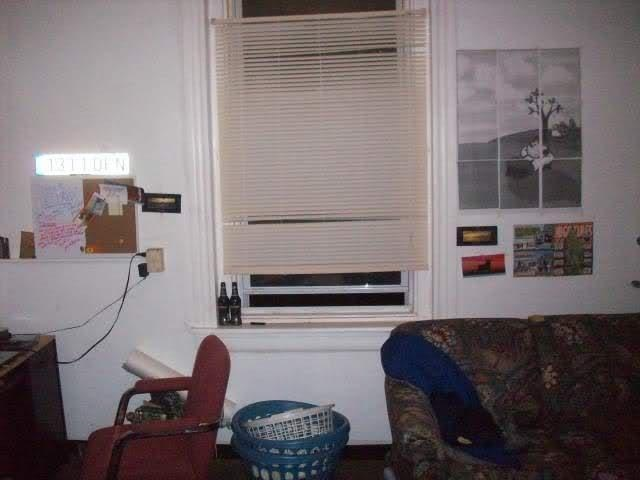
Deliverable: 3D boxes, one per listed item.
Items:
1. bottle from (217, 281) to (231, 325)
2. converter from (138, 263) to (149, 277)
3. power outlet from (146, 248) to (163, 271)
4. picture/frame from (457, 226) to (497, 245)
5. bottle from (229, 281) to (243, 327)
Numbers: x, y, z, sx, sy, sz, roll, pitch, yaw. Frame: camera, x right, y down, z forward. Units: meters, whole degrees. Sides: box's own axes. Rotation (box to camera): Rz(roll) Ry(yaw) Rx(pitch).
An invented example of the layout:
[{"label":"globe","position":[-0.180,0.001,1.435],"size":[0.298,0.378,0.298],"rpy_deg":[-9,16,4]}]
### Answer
[{"label":"bottle","position":[-0.654,0.437,4.103],"size":[0.078,0.302,0.120],"rpy_deg":[2,7,25]},{"label":"converter","position":[-1.199,0.210,4.010],"size":[0.078,0.086,0.019],"rpy_deg":[-1,4,-20]},{"label":"power outlet","position":[-1.118,0.131,3.959],"size":[0.128,0.145,0.041],"rpy_deg":[1,1,-7]},{"label":"picture/frame","position":[1.063,-0.025,3.998],"size":[0.275,0.126,0.035],"rpy_deg":[0,6,6]},{"label":"bottle","position":[-0.585,0.438,4.098],"size":[0.083,0.300,0.109],"rpy_deg":[-2,6,-11]}]
